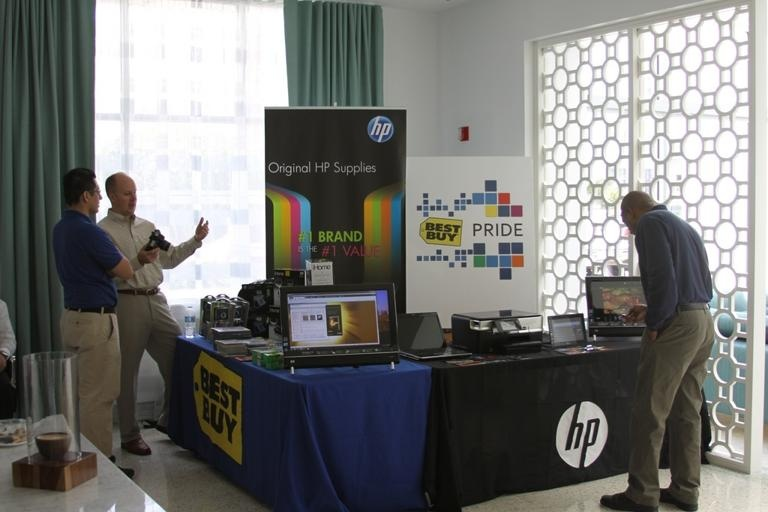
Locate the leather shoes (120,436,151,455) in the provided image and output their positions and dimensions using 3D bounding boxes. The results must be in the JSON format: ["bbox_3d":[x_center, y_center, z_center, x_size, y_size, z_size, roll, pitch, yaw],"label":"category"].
[{"bbox_3d":[-1.988,1.498,4.993,0.247,0.107,0.109,-3,-4,33],"label":"leather shoes"}]

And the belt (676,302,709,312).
[{"bbox_3d":[2.054,0.339,4.157,0.257,0.060,0.058,-3,4,-28],"label":"belt"}]

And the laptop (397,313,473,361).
[{"bbox_3d":[0.315,0.551,4.348,0.538,0.265,0.550,1,-1,-3],"label":"laptop"}]

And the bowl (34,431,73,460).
[{"bbox_3d":[-1.378,0.781,2.589,0.114,0.083,0.116,1,4,0],"label":"bowl"}]

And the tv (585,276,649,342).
[{"bbox_3d":[1.758,0.423,4.736,0.507,0.529,0.073,0,-25,2],"label":"tv"}]

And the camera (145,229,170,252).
[{"bbox_3d":[-1.670,-0.094,4.585,0.118,0.147,0.191,-51,12,-21],"label":"camera"}]
